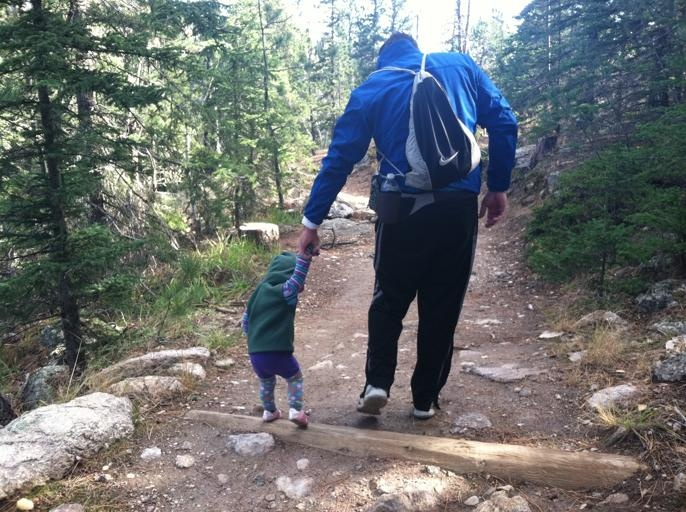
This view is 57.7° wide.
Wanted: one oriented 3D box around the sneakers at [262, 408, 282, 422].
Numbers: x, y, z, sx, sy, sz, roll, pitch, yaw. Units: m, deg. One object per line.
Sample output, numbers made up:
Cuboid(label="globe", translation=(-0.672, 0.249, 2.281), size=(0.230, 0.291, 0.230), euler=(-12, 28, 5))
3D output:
Cuboid(label="sneakers", translation=(-0.776, 1.763, 6.894), size=(0.090, 0.093, 0.230), euler=(2, 4, 33))

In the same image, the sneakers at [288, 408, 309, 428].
Cuboid(label="sneakers", translation=(-0.468, 1.746, 6.682), size=(0.116, 0.133, 0.326), euler=(-13, -37, 37))
